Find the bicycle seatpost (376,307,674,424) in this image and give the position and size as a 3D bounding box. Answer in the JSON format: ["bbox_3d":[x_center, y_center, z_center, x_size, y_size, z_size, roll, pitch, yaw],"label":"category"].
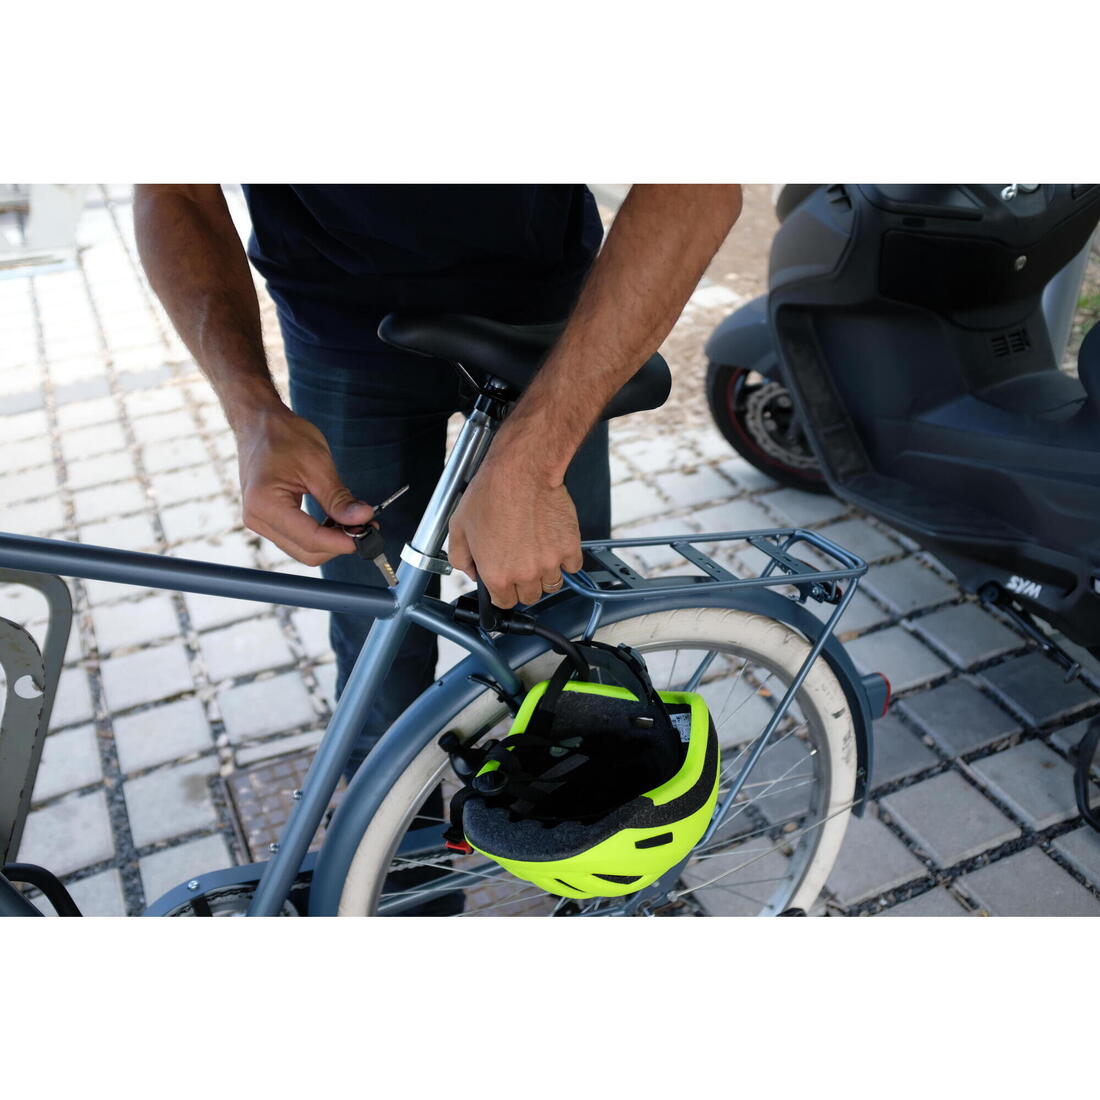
[{"bbox_3d":[-0.032,-0.263,1.413,0.399,0.122,0.147,15,47,1],"label":"bicycle seatpost"}]

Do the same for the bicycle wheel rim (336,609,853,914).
[{"bbox_3d":[0.191,0.323,1.567,0.747,0.538,0.089,-22,73,-36],"label":"bicycle wheel rim"}]

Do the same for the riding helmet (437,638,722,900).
[{"bbox_3d":[0.049,0.316,1.458,0.418,0.272,0.313,-26,30,-34],"label":"riding helmet"}]

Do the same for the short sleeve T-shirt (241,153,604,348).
[{"bbox_3d":[-0.190,-0.474,1.806,0.529,0.594,0.291,-1,94,-3],"label":"short sleeve T-shirt"}]

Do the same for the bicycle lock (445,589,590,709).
[{"bbox_3d":[-0.028,0.142,1.489,0.226,0.052,0.123,17,36,-7],"label":"bicycle lock"}]
